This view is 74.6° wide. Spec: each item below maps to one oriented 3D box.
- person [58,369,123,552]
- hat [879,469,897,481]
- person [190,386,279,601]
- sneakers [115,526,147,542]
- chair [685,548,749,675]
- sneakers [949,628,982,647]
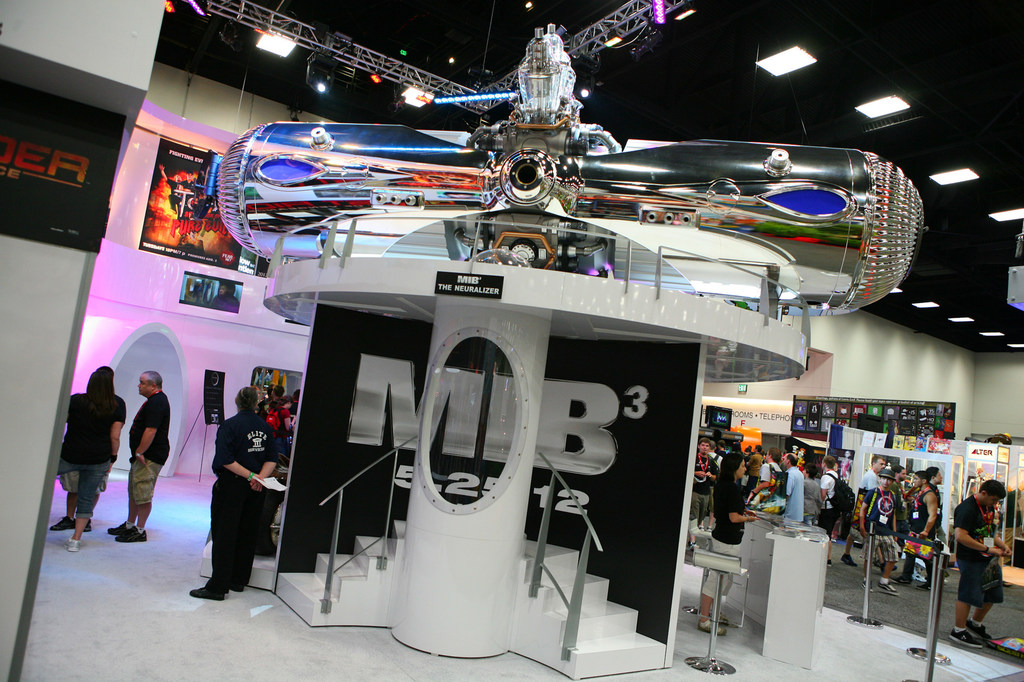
[{"bbox_3d":[-5.611,1.526,8.857,0.640,2.262,0.426,7,0,-17],"label":"person"},{"bbox_3d":[7.889,2.770,14.046,0.385,0.125,0.437,3,-7,3],"label":"hat"},{"bbox_3d":[-3.310,1.821,8.144,0.694,2.438,0.608,8,0,5],"label":"person"},{"bbox_3d":[-5.340,2.699,9.398,0.395,0.170,0.155,12,-14,-43],"label":"sneakers"},{"bbox_3d":[2.572,3.264,8.421,0.645,1.460,1.257,8,0,20],"label":"chair"},{"bbox_3d":[6.731,4.314,9.820,0.483,0.220,0.183,0,-4,29],"label":"sneakers"}]
